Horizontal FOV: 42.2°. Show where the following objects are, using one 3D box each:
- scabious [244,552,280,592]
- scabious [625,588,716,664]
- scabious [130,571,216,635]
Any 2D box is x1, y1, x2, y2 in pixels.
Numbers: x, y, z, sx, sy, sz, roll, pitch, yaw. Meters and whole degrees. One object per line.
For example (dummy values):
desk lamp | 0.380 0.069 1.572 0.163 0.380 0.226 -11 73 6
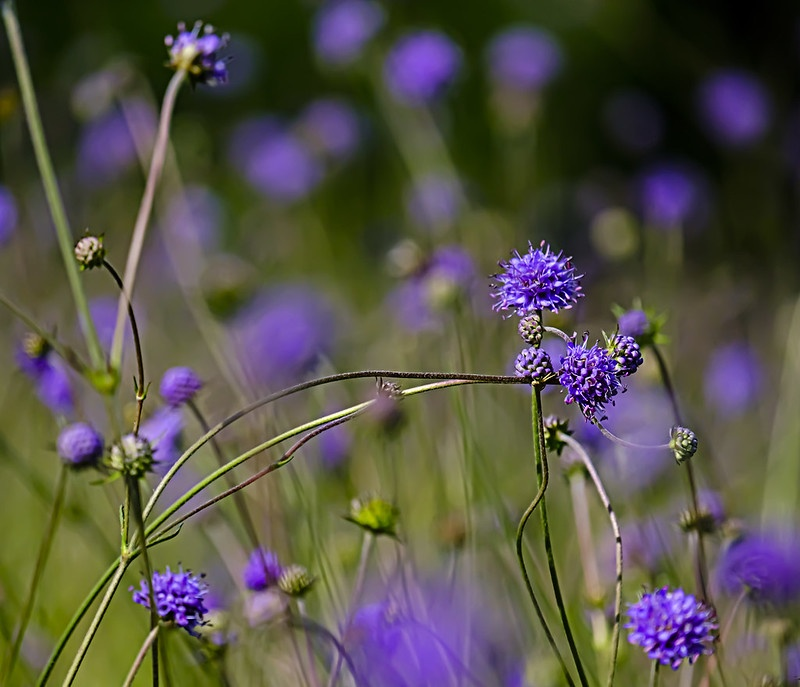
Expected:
scabious | -0.273 0.444 2.007 0.056 0.077 0.083 12 -42 -28
scabious | 0.472 0.486 1.794 0.133 0.139 0.154 -14 1 19
scabious | -0.407 0.440 1.814 0.104 0.105 0.113 -20 -23 39
